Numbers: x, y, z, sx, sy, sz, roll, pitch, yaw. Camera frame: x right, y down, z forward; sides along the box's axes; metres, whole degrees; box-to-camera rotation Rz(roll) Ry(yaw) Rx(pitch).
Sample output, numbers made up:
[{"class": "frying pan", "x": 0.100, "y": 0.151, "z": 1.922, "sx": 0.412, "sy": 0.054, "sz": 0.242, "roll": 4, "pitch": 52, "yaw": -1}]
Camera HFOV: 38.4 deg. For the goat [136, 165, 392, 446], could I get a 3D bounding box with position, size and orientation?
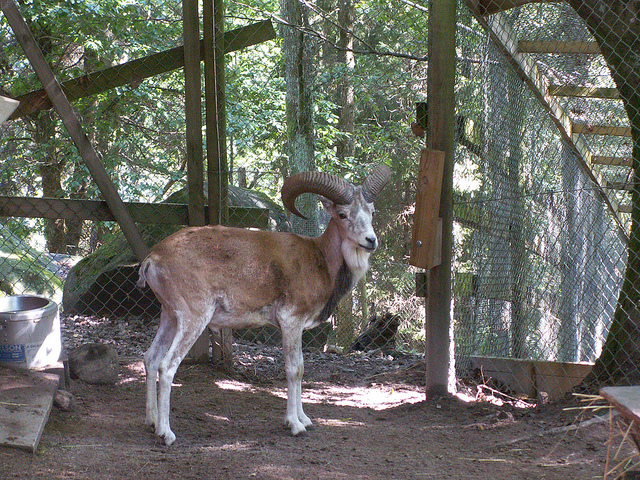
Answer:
[{"class": "goat", "x": -0.630, "y": 0.702, "z": 9.070, "sx": 2.014, "sy": 2.522, "sz": 1.109, "roll": 3, "pitch": -10, "yaw": -22}]
